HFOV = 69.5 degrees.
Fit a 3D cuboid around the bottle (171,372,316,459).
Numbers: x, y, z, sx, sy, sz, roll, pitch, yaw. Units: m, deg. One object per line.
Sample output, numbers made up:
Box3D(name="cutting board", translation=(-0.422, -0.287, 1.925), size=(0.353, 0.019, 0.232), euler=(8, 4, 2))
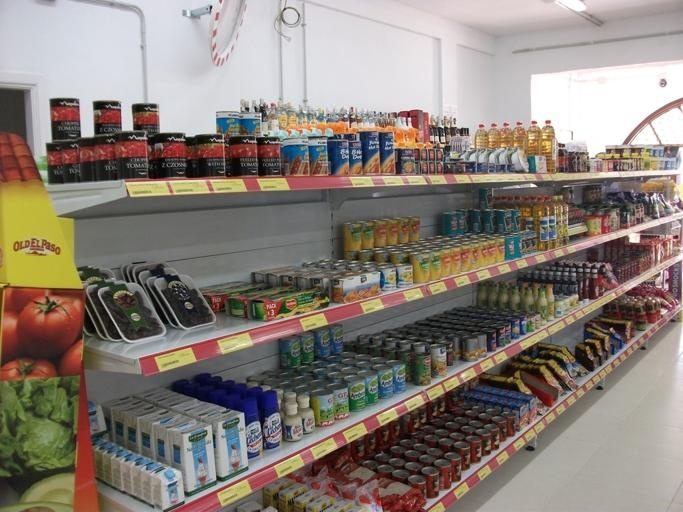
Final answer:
Box3D(name="bottle", translation=(-0.480, 0.742, 2.476), size=(0.559, 0.291, 0.435), euler=(5, 10, 41))
